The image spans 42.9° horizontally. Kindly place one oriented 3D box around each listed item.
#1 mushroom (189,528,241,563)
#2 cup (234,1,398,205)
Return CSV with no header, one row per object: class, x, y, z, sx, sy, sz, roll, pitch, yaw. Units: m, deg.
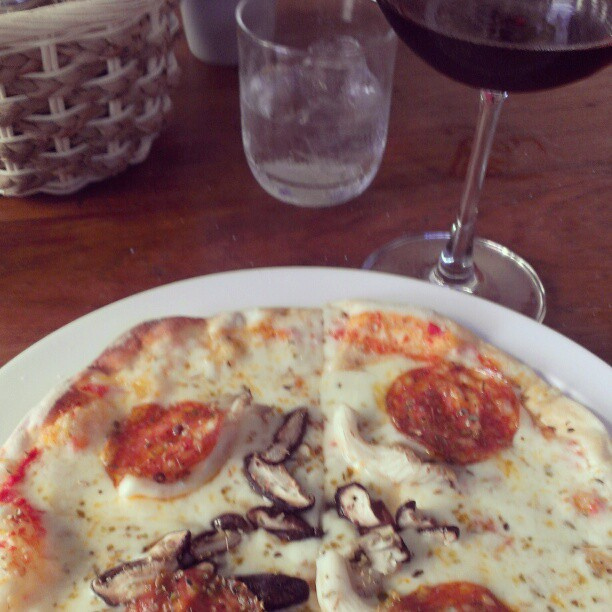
mushroom,-0.076,0.193,0.637,0.033,0.011,0.022,-15,51,-33
cup,-0.002,-0.298,1.066,0.173,0.283,0.265,-6,46,-6
